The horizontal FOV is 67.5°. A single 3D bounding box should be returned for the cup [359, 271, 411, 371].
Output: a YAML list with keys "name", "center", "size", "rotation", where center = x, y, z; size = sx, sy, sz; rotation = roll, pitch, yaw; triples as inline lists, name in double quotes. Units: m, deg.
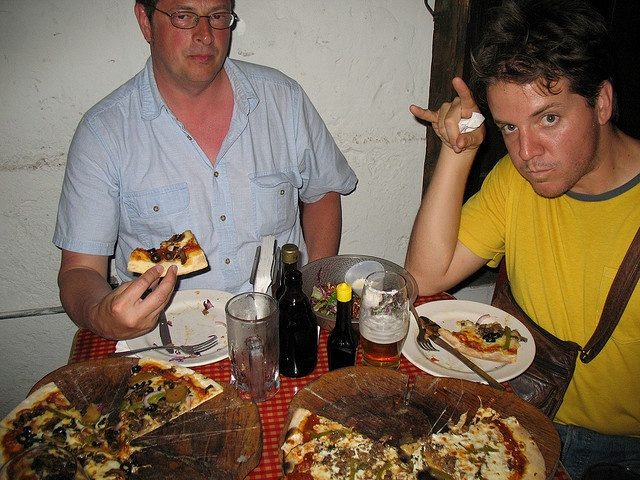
- name: "cup"
  center: [0.237, 0.316, 1.821]
  size: [0.195, 0.360, 0.233]
  rotation: [-7, 27, -10]

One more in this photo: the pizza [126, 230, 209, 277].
- name: "pizza"
  center: [-0.671, 0.074, 2.126]
  size: [0.226, 0.101, 0.237]
  rotation: [-8, 34, -15]

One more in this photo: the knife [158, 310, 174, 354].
- name: "knife"
  center: [-0.647, 0.379, 1.992]
  size: [0.036, 0.027, 0.325]
  rotation: [-2, 20, -19]
